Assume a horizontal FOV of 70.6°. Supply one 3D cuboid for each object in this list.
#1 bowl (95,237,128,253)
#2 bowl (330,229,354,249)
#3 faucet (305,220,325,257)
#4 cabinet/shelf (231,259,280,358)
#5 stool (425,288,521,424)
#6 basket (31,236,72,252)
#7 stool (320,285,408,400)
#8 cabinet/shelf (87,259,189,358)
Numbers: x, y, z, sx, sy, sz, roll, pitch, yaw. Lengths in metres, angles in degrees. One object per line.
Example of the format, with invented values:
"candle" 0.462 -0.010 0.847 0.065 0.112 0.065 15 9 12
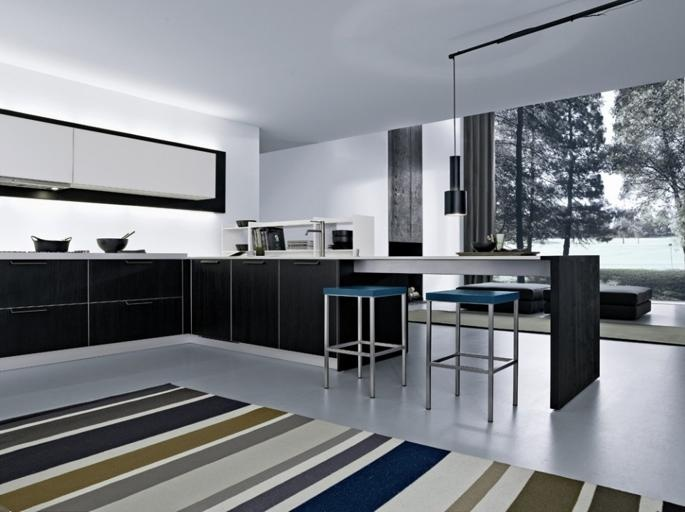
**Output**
"bowl" -2.514 -0.102 5.278 0.195 0.093 0.201 -2 -1 0
"bowl" -0.002 -0.176 5.157 0.271 0.205 0.138 1 4 17
"faucet" -0.257 -0.142 4.924 0.202 0.452 0.110 -1 -25 -1
"cabinet/shelf" -0.757 0.448 4.996 0.635 0.940 0.527 6 12 25
"stool" 0.970 0.696 3.581 0.667 0.857 0.688 -8 -26 36
"basket" -2.930 -0.122 4.868 0.311 0.154 0.770 -3 5 -33
"stool" 0.193 0.642 3.944 0.678 0.796 0.673 1 -3 -22
"cabinet/shelf" -2.294 0.495 5.255 1.059 0.987 0.595 -1 -8 -36
